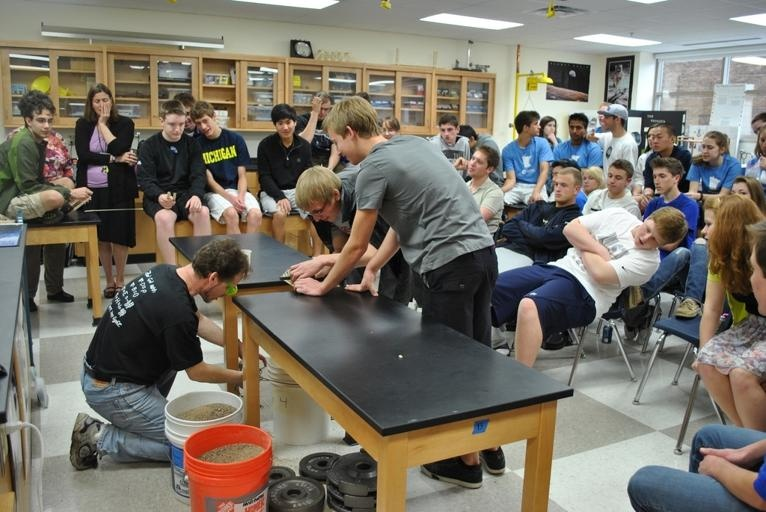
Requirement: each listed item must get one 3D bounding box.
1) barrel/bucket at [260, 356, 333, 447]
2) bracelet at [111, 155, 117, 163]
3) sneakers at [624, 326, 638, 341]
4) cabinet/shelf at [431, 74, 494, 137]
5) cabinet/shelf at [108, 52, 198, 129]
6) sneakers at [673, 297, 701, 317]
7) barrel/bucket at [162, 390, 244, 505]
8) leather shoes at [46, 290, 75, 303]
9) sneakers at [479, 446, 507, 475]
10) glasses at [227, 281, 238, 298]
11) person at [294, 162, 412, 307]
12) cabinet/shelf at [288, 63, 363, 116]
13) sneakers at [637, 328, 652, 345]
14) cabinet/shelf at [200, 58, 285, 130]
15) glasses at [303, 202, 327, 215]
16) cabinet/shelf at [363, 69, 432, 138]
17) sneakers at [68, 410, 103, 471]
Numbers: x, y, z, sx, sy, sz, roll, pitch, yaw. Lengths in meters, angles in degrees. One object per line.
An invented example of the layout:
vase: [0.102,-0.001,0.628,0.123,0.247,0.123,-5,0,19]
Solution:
barrel/bucket: [-0.547,0.927,3.860,0.529,0.491,0.477,-2,6,-17]
bracelet: [-2.710,-0.977,5.872,0.066,0.068,0.048,-1,4,42]
sneakers: [2.258,0.714,5.293,0.132,0.113,0.128,1,-5,-25]
cabinet/shelf: [1.340,-2.637,10.282,1.228,1.021,0.390,-4,13,-22]
cabinet/shelf: [-3.134,-2.229,7.998,1.155,0.972,0.375,-4,6,-15]
sneakers: [2.224,0.383,4.261,0.116,0.117,0.321,1,1,42]
barrel/bucket: [-0.997,1.073,3.456,0.582,0.519,0.547,1,14,0]
leather shoes: [-3.174,0.416,5.823,0.300,0.106,0.102,0,8,-15]
sneakers: [0.659,1.228,3.560,0.103,0.105,0.256,-2,7,-8]
glasses: [-0.902,0.204,3.501,0.085,0.099,0.097,4,-22,-20]
person: [-0.213,-0.141,3.939,0.911,0.846,0.675,-6,5,-43]
cabinet/shelf: [-0.963,-2.492,9.175,1.185,1.035,0.368,-1,28,-16]
sneakers: [2.323,0.718,5.176,0.079,0.142,0.130,22,19,16]
cabinet/shelf: [-2.083,-2.336,8.563,1.284,0.957,0.473,1,13,-6]
glasses: [-0.413,-0.287,3.605,0.098,0.050,0.074,-13,9,-33]
cabinet/shelf: [0.230,-2.549,9.824,1.156,0.903,0.396,2,12,-5]
sneakers: [-1.758,1.125,3.543,0.218,0.295,0.185,-4,-10,29]
